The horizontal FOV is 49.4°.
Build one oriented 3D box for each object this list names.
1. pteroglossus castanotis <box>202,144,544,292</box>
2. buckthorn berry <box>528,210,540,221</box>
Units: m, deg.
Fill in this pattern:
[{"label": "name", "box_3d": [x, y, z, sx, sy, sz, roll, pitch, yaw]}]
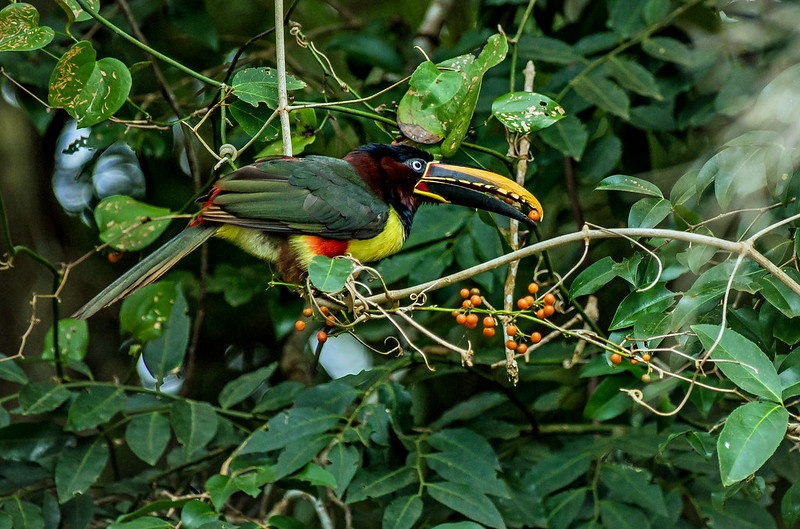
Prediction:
[{"label": "pteroglossus castanotis", "box_3d": [-0.186, -0.234, 4.499, 1.692, 0.581, 0.781, 6, 89, -8]}, {"label": "buckthorn berry", "box_3d": [0.595, -0.214, 3.873, 0.047, 0.053, 0.044, -1, 78, -12]}]
